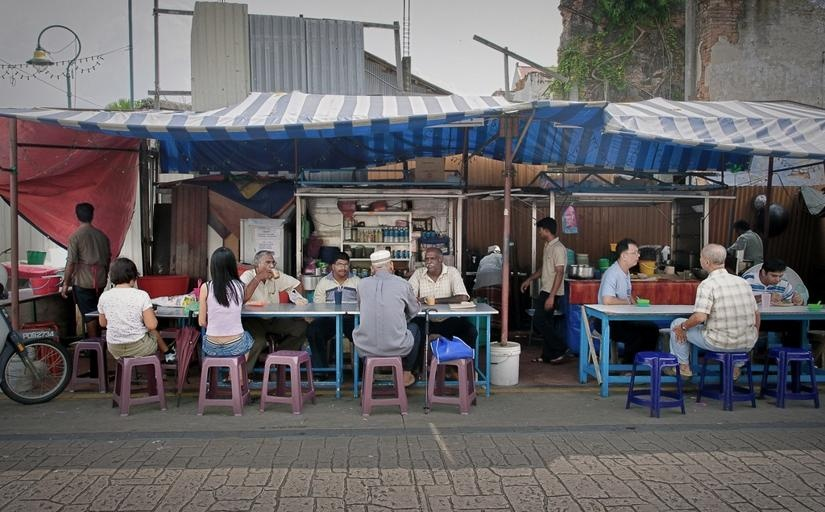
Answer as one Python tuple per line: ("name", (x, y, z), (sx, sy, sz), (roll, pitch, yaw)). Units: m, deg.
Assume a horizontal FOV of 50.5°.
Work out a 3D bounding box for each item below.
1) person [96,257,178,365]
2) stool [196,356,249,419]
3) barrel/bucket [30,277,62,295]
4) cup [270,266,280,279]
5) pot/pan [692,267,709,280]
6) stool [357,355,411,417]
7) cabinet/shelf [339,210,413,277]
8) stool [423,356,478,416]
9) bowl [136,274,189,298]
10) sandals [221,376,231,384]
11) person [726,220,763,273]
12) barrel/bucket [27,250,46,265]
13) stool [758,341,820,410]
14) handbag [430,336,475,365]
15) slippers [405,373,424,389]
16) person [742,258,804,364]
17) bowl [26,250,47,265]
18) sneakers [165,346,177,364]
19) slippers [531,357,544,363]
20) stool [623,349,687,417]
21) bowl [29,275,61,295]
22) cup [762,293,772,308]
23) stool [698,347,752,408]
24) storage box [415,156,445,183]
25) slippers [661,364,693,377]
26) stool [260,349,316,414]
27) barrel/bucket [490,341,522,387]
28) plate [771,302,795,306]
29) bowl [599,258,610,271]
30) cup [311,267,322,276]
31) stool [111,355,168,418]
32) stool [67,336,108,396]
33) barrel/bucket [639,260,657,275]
("person", (-4.657, 0.861, 14.439), (1.033, 1.731, 0.433), (-3, 1, -11))
("stool", (-3.103, 2.120, 14.476), (0.997, 0.836, 0.980), (1, -4, -18))
("barrel/bucket", (-6.940, 0.547, 16.532), (0.366, 0.228, 0.372), (2, 0, 0))
("cup", (-2.465, 0.326, 15.628), (0.159, 0.158, 0.160), (2, -1, 0))
("pot/pan", (5.813, 0.379, 17.761), (0.428, 0.162, 0.368), (2, 2, 2))
("stool", (-0.488, 2.114, 14.599), (0.932, 0.890, 0.904), (-1, 4, -3))
("cabinet/shelf", (-0.740, -0.244, 17.406), (1.375, 1.254, 0.432), (0, -4, -4))
("stool", (0.647, 2.130, 14.517), (0.813, 0.662, 0.797), (4, 1, -1))
("bowl", (-4.864, 0.586, 17.116), (0.562, 0.389, 0.542), (-1, 0, 0))
("sandals", (-3.237, 2.136, 15.095), (0.153, 0.074, 0.205), (0, 0, -3))
("person", (7.095, -0.081, 18.579), (0.770, 1.370, 0.708), (0, 9, 29))
("barrel/bucket", (-7.588, 0.034, 17.611), (0.279, 0.212, 0.301), (0, -7, 0))
("stool", (6.428, 2.047, 14.905), (1.023, 1.024, 0.997), (-3, -1, 26))
("handbag", (0.611, 1.543, 14.223), (0.493, 0.182, 0.460), (0, 38, -7))
("slippers", (0.003, 2.168, 14.996), (0.259, 0.180, 0.669), (-1, -6, 5))
("person", (6.406, 0.902, 15.508), (1.153, 1.610, 1.287), (-3, 6, 19))
("bowl", (-7.586, 0.034, 17.626), (0.286, 0.217, 0.311), (0, -6, 0))
("sneakers", (-4.083, 1.704, 14.823), (0.147, 0.190, 0.418), (-1, 6, -4))
("slippers", (2.367, 2.000, 16.618), (0.185, 0.067, 0.095), (4, -3, -9))
("stool", (3.936, 2.105, 14.657), (1.036, 1.157, 1.070), (0, 0, -30))
("bowl", (-6.955, 0.552, 16.533), (0.393, 0.247, 0.404), (2, 1, 0))
("cup", (6.132, 0.777, 15.189), (0.241, 0.232, 0.198), (-1, -6, 22))
("stool", (5.278, 2.081, 14.719), (0.931, 0.857, 0.939), (3, 0, 5))
("storage box", (0.353, -1.762, 17.731), (0.514, 0.380, 0.511), (0, 1, -1))
("slippers", (4.456, 1.945, 14.726), (0.483, 0.207, 0.181), (4, 2, 16))
("stool", (-2.084, 2.112, 14.580), (1.041, 0.845, 1.048), (-1, 3, -28))
("barrel/bucket", (1.610, 1.948, 15.500), (0.610, 0.645, 0.607), (1, 2, 0))
("plate", (6.517, 0.857, 15.357), (0.493, 0.051, 0.261), (-3, 0, -17))
("bowl", (3.926, 0.106, 17.978), (0.229, 0.241, 0.402), (2, 7, 9))
("cup", (-1.920, 0.322, 17.430), (0.169, 0.170, 0.121), (1, -4, 8))
("stool", (-4.617, 2.154, 14.575), (1.073, 0.879, 1.072), (-3, -5, 33))
("stool", (-5.569, 1.862, 15.201), (0.836, 0.910, 1.051), (0, 0, -14))
("barrel/bucket", (4.768, 0.240, 17.744), (0.300, 0.231, 0.300), (0, 0, 0))
